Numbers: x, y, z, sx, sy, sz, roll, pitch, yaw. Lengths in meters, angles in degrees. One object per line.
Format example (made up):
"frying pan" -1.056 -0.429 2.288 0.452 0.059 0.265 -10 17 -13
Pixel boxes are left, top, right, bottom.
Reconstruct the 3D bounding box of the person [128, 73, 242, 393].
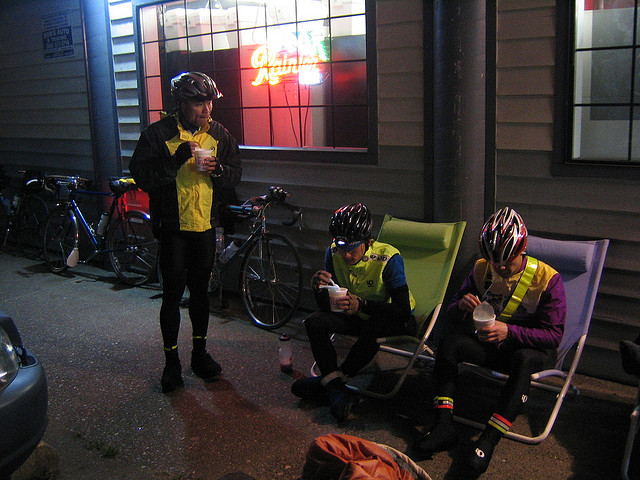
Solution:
"person" -0.968 0.045 3.500 0.758 2.032 0.490 -8 16 -24

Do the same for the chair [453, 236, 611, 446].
"chair" 1.209 0.511 2.860 0.788 1.047 1.337 3 2 41

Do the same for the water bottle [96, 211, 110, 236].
"water bottle" -2.757 -0.204 5.780 0.168 0.280 0.121 -9 16 -26

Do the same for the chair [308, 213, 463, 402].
"chair" 0.479 0.402 3.290 0.735 1.061 1.132 8 12 36

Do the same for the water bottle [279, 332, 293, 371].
"water bottle" -0.285 0.877 3.678 0.105 0.305 0.152 -4 15 -6

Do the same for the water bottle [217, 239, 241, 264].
"water bottle" -0.920 0.102 4.615 0.154 0.269 0.102 38 9 37

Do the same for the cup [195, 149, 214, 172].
"cup" -0.856 -0.580 3.317 0.136 0.134 0.111 11 17 36

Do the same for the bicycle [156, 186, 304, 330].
"bicycle" -0.976 0.194 4.748 1.769 1.291 0.726 1 -9 31

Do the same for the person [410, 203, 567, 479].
"person" 1.075 0.504 2.841 0.789 1.384 1.265 6 17 29

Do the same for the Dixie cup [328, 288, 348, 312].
"Dixie cup" 0.092 0.388 3.034 0.141 0.152 0.146 1 12 0

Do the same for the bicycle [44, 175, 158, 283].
"bicycle" -2.859 -0.161 5.826 1.904 1.304 0.681 5 8 14

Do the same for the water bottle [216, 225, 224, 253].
"water bottle" -1.007 0.001 4.556 0.082 0.289 0.193 -5 15 -10

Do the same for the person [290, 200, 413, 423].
"person" 0.258 0.430 3.295 0.827 1.391 0.956 11 20 41

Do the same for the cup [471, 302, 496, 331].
"cup" 0.938 0.447 2.631 0.124 0.135 0.145 2 20 27
